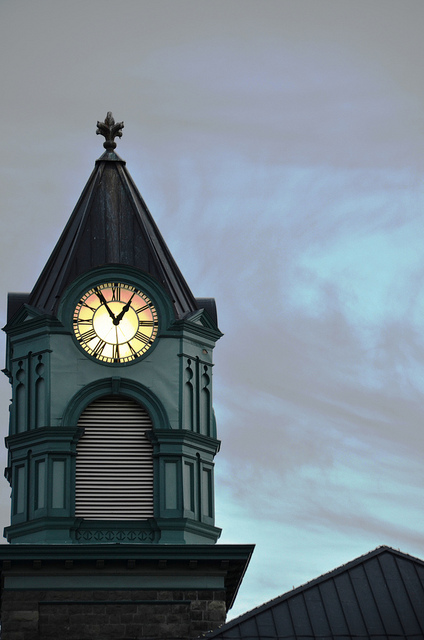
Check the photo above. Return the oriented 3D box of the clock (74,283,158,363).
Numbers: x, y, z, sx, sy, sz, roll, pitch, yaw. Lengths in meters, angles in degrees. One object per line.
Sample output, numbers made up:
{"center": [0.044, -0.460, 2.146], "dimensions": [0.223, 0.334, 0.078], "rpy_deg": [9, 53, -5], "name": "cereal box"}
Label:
{"center": [-2.232, 0.152, 34.166], "dimensions": [1.898, 1.817, 0.118], "rpy_deg": [-3, -24, -10], "name": "clock"}
